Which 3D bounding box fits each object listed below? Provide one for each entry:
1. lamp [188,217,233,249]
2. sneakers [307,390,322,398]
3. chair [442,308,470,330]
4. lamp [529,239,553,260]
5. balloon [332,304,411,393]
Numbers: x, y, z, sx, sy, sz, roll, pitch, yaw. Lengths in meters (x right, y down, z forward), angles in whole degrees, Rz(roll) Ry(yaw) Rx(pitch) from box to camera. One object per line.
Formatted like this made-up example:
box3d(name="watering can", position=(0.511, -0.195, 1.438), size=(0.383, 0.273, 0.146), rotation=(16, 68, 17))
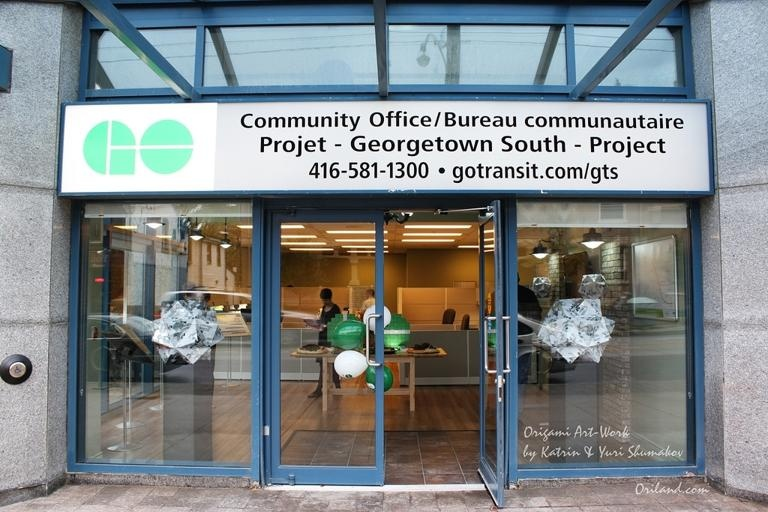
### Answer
box3d(name="lamp", position=(-2.041, -0.273, 7.833), size=(0.601, 0.587, 0.269), rotation=(0, 2, -3))
box3d(name="sneakers", position=(-0.799, 1.607, 7.571), size=(0.171, 0.120, 0.068), rotation=(3, -5, -7))
box3d(name="chair", position=(1.509, 1.339, 14.179), size=(0.514, 0.695, 0.579), rotation=(2, -9, -8))
box3d(name="lamp", position=(1.830, -0.079, 7.518), size=(0.216, 0.236, 0.219), rotation=(-3, -3, 25))
box3d(name="balloon", position=(-0.318, 1.049, 7.757), size=(0.910, 0.915, 0.321), rotation=(5, -1, -3))
